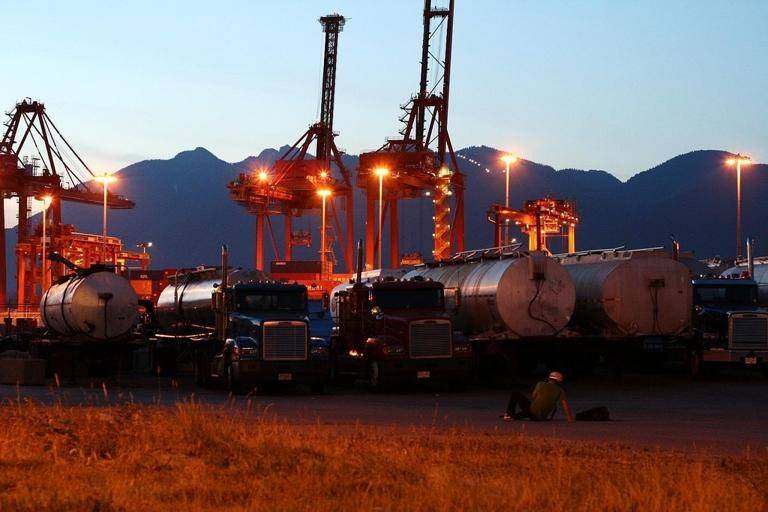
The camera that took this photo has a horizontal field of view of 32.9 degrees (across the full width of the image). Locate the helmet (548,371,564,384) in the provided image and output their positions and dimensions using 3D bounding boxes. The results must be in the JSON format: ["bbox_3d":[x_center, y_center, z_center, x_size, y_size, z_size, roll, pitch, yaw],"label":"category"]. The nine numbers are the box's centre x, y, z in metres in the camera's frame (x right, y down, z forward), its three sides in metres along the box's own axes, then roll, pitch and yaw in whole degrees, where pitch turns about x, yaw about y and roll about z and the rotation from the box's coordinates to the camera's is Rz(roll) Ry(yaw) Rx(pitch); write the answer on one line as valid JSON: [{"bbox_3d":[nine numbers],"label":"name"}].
[{"bbox_3d":[5.008,3.603,38.126,0.292,0.310,0.570,-2,-3,21],"label":"helmet"}]

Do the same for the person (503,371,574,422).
[{"bbox_3d":[4.492,4.157,38.067,1.740,1.391,0.707,-2,-3,18],"label":"person"}]

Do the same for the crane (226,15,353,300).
[{"bbox_3d":[-7.960,-8.509,113.133,11.539,22.423,5.927,-3,13,-4],"label":"crane"}]
